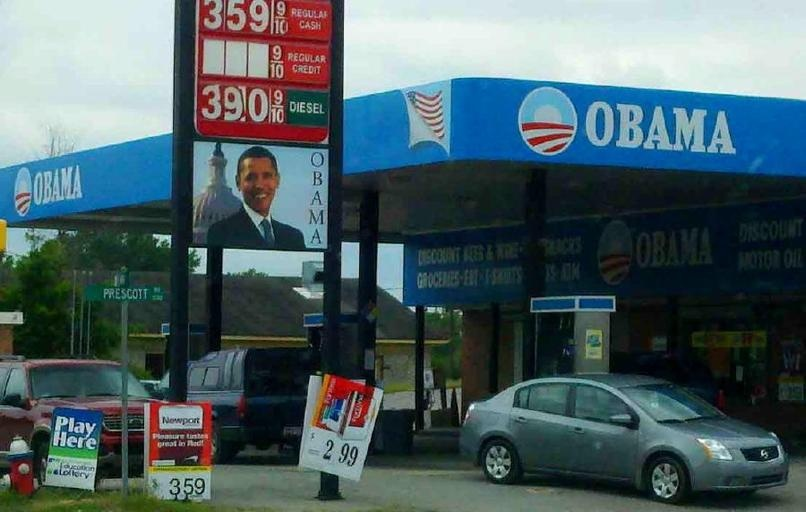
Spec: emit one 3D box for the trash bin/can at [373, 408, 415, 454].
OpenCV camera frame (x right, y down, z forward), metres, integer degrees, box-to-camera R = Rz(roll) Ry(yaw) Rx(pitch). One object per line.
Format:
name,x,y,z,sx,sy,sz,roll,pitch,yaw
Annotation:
trash bin/can,-0.305,4.974,32.290,1.111,1.645,1.095,10,-15,-27

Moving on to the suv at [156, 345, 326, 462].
suv,-3.566,3.583,28.531,2.321,2.262,3.829,1,-1,-30
